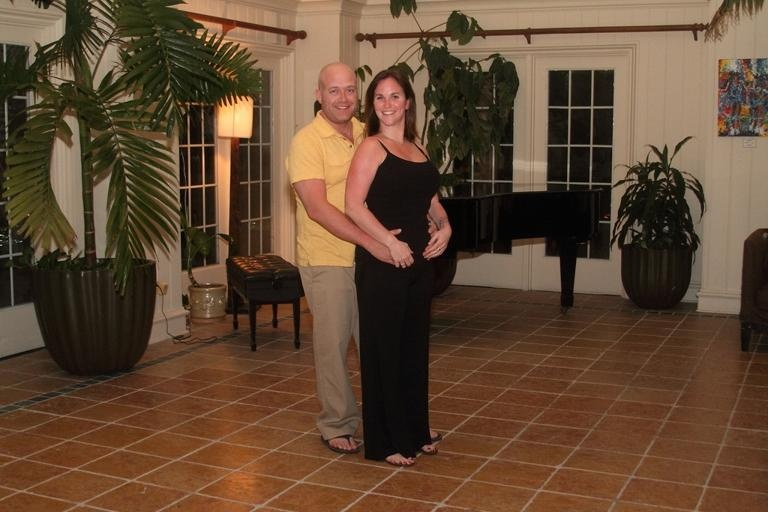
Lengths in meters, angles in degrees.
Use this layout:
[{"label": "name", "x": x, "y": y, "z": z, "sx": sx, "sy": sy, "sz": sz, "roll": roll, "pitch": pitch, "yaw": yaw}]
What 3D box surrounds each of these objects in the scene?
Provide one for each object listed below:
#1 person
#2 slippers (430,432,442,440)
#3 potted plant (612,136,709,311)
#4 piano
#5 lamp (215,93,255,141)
[{"label": "person", "x": 0.050, "y": 0.099, "z": 3.483, "sx": 0.597, "sy": 2.237, "sz": 0.336, "roll": 0, "pitch": 9, "yaw": 4}, {"label": "slippers", "x": 0.334, "y": 1.133, "z": 3.870, "sx": 0.042, "sy": 0.029, "sz": 0.110, "roll": 2, "pitch": 10, "yaw": 10}, {"label": "potted plant", "x": 3.128, "y": -0.365, "z": 7.079, "sx": 1.213, "sy": 1.947, "sz": 0.843, "roll": -7, "pitch": 12, "yaw": -37}, {"label": "piano", "x": 1.391, "y": -0.346, "z": 6.052, "sx": 1.926, "sy": 0.554, "sz": 0.188, "roll": -6, "pitch": 11, "yaw": -33}, {"label": "lamp", "x": -1.650, "y": -1.511, "z": 6.989, "sx": 0.450, "sy": 0.508, "sz": 0.457, "roll": -1, "pitch": -9, "yaw": 4}]
